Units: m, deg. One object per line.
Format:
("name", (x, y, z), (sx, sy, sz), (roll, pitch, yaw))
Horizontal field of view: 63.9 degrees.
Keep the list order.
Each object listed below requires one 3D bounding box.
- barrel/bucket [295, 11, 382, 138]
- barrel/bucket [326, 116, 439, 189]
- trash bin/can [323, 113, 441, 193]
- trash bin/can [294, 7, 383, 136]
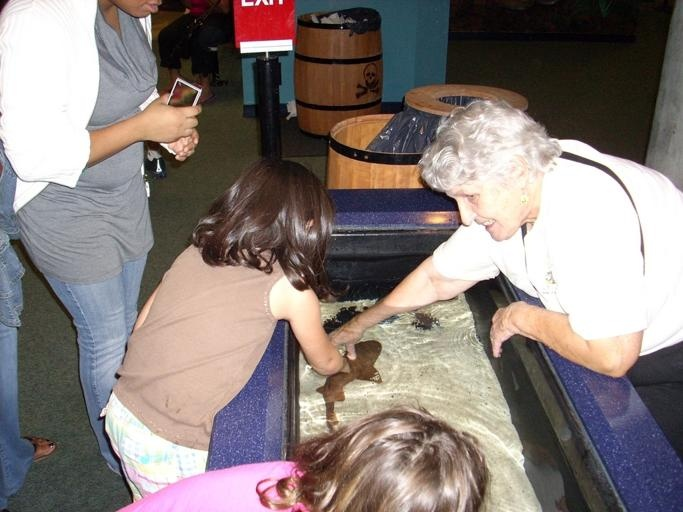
("barrel/bucket", (-0.018, -1.634, 4.932), (0.966, 1.101, 1.039), (-1, 27, 0))
("barrel/bucket", (0.168, -0.662, 2.797), (0.458, 0.491, 0.477), (-3, 32, 2))
("trash bin/can", (0.166, -0.667, 2.795), (0.460, 0.495, 0.479), (-4, 33, 1))
("trash bin/can", (-0.032, -1.631, 4.963), (0.973, 1.144, 1.060), (-2, 28, -2))
